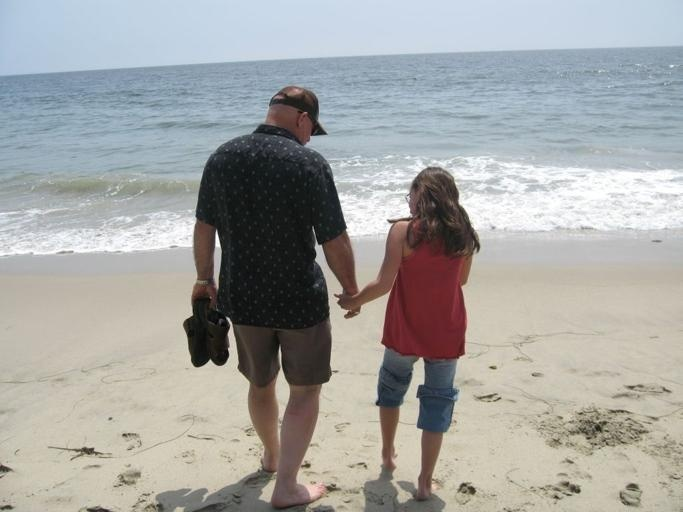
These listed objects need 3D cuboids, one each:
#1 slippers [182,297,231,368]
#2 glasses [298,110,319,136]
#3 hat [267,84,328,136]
[{"bbox_3d":[-0.942,0.551,4.403,0.282,0.537,0.177,-1,27,2],"label":"slippers"},{"bbox_3d":[-0.233,-0.902,4.300,0.124,0.151,0.079,-1,24,3],"label":"glasses"},{"bbox_3d":[-0.267,-1.021,4.333,0.290,0.218,0.417,23,1,41],"label":"hat"}]
